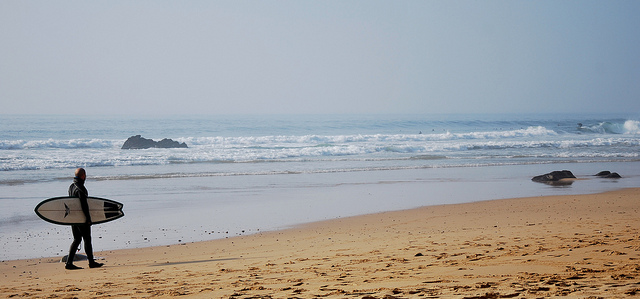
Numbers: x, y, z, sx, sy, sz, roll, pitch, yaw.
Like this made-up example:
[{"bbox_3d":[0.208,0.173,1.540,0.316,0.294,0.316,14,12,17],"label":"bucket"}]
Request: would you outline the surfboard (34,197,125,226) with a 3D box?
[{"bbox_3d":[-15.043,3.810,42.871,7.527,1.842,0.432,-2,14,24],"label":"surfboard"}]
